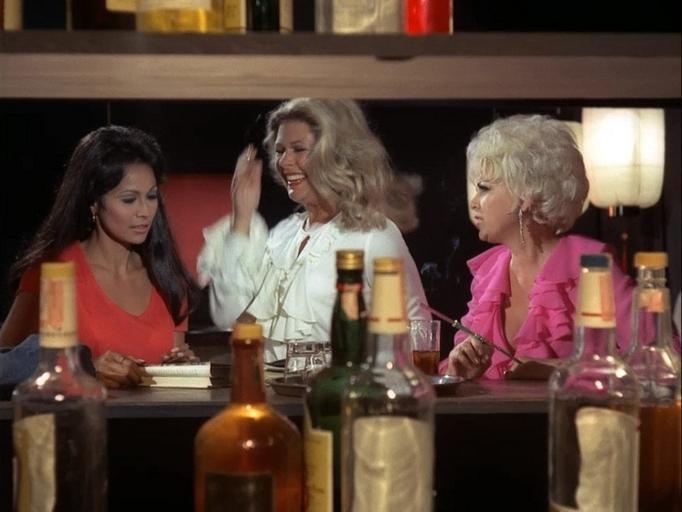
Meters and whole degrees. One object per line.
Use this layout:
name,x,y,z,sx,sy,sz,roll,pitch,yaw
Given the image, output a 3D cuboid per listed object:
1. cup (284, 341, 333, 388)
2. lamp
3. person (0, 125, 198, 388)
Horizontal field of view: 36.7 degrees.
cup,-0.068,0.225,2.111,0.104,0.137,0.079,0,-3,22
lamp,0.759,-0.260,2.757,0.178,0.282,0.191,1,-7,3
person,-0.618,-0.027,2.591,0.286,0.745,0.603,5,6,43
